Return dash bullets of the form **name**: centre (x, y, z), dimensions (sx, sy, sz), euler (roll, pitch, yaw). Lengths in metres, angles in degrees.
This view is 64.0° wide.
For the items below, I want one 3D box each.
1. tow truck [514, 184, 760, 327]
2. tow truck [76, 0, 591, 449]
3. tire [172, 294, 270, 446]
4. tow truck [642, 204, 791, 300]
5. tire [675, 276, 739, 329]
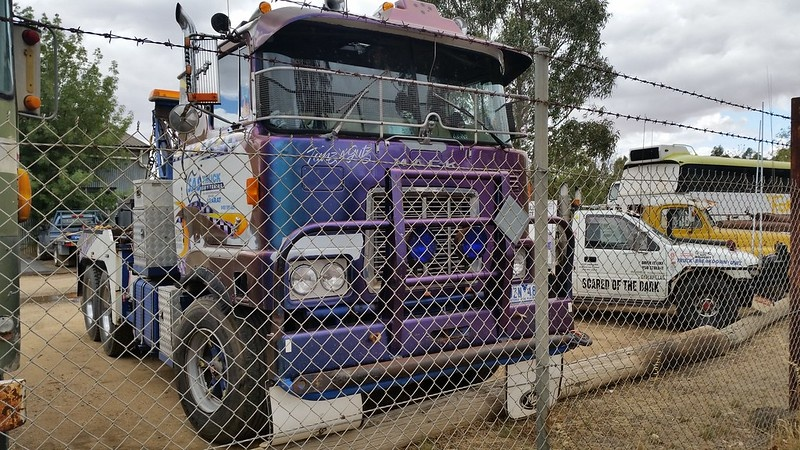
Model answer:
- **tow truck**: centre (4.527, 0.751, 14.027), dimensions (5.559, 2.735, 2.479), euler (-4, 12, 14)
- **tow truck**: centre (-1.649, 0.031, 10.138), dimensions (4.230, 4.486, 8.202), euler (0, -1, -30)
- **tire**: centre (-2.254, 1.841, 8.040), dimensions (1.639, 1.917, 0.610), euler (8, 8, 42)
- **tow truck**: centre (6.361, 0.587, 12.905), dimensions (2.718, 1.677, 1.967), euler (-2, 4, 1)
- **tire**: centre (5.939, 1.507, 12.460), dimensions (0.941, 0.999, 0.335), euler (-4, 0, -9)
